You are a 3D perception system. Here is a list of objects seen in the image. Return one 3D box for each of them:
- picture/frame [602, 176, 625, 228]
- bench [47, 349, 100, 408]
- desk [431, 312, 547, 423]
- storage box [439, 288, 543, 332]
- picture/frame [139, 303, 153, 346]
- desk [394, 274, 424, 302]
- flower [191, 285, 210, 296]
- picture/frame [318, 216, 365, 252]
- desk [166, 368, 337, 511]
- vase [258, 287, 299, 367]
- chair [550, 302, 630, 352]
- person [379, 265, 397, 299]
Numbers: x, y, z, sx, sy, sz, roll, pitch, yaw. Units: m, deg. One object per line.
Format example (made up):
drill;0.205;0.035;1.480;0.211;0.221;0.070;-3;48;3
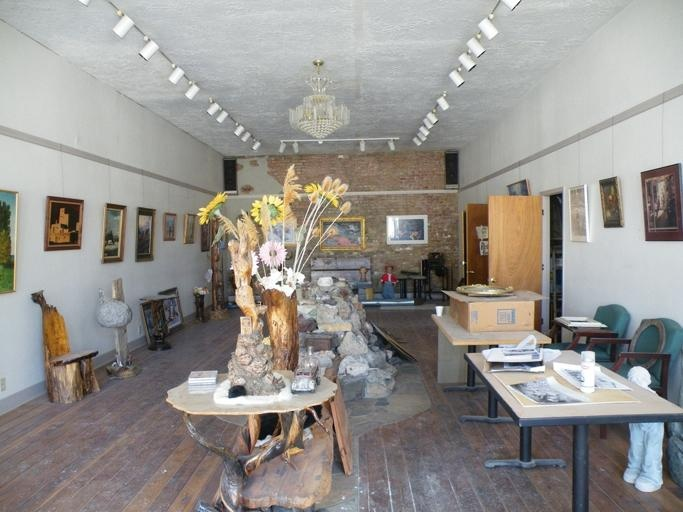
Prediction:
picture/frame;3.500;-0.700;5.503;0.121;0.657;0.417;-1;2;8
bench;-3.523;1.557;5.627;0.558;0.529;0.736;-1;4;5
desk;1.687;1.073;5.036;1.068;0.936;1.937;0;3;0
storage box;1.888;0.633;5.079;1.093;0.406;0.859;-1;1;4
picture/frame;-3.667;1.211;7.986;0.141;0.789;0.312;-2;2;5
desk;2.051;0.880;12.492;0.853;0.757;1.127;-1;1;9
flower;-3.169;0.770;9.616;0.265;0.099;0.269;6;6;40
picture/frame;0.061;-0.660;12.180;1.282;0.898;0.055;0;4;0
desk;-0.627;1.370;3.291;1.327;0.458;1.083;1;7;10
vase;-0.539;0.644;3.730;0.303;0.742;0.315;-2;2;-9
chair;3.186;0.876;5.556;0.702;0.782;0.610;1;-2;1
person;1.388;0.738;12.564;0.512;0.983;1.030;-2;2;5
